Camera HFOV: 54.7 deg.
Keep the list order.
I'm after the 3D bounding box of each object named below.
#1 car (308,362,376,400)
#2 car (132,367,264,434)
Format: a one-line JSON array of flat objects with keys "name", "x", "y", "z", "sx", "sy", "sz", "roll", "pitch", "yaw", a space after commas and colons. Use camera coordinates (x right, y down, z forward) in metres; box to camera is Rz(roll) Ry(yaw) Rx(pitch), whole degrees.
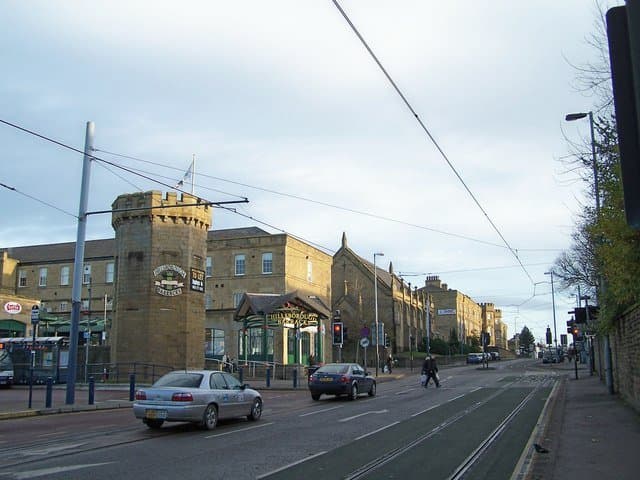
[{"name": "car", "x": 1.260, "y": 6.343, "z": 27.620, "sx": 1.444, "sy": 1.111, "sz": 3.241, "roll": -6, "pitch": -19, "yaw": 18}, {"name": "car", "x": -3.237, "y": 4.457, "z": 18.081, "sx": 1.596, "sy": 1.170, "sz": 3.536, "roll": -4, "pitch": -7, "yaw": 29}]
